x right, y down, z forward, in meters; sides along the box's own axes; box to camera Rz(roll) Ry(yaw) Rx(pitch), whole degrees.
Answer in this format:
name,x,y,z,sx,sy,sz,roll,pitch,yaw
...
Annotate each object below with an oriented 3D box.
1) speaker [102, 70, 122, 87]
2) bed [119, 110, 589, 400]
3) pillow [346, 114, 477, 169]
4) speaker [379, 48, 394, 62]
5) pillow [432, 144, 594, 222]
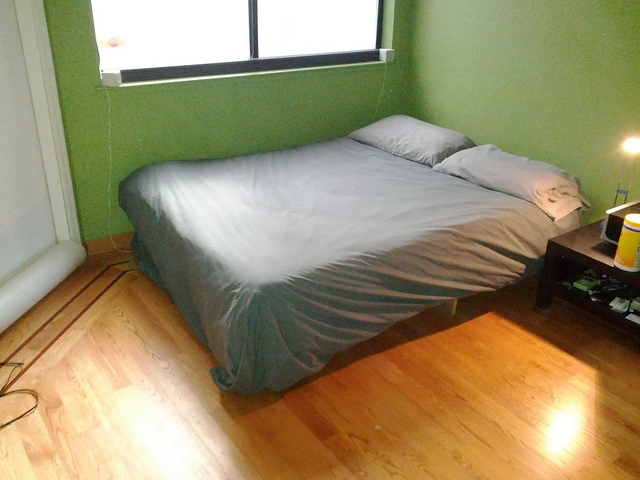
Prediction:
name,x,y,z,sx,sy,sz,roll,pitch,yaw
speaker,-1.286,-0.992,3.140,0.110,0.106,0.079,-1,3,-12
bed,0.363,-0.078,2.822,2.112,0.677,1.706,-19,44,-24
pillow,0.628,-0.741,3.696,0.477,0.166,0.687,-29,37,-31
speaker,0.523,-1.436,3.965,0.110,0.106,0.102,-1,8,0
pillow,1.194,-0.391,3.126,0.752,0.201,0.469,28,45,36
